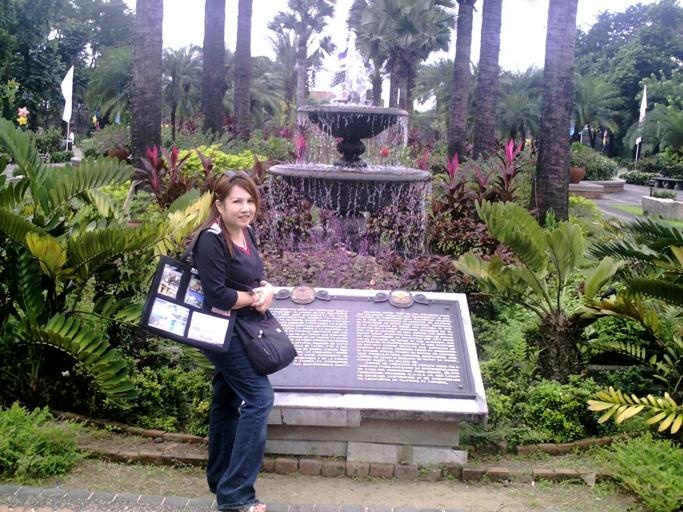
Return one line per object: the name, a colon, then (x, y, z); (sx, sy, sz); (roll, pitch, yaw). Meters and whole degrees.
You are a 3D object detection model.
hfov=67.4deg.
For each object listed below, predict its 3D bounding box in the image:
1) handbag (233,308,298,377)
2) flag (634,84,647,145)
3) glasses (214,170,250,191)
handbag: (-0.541, 0.548, 3.504); (0.216, 0.492, 0.375); (-42, -17, 23)
flag: (24.803, -11.801, 42.989); (1.265, 7.845, 0.383); (11, -13, -15)
glasses: (-0.732, -0.505, 3.338); (0.147, 0.067, 0.172); (-16, 5, 3)
